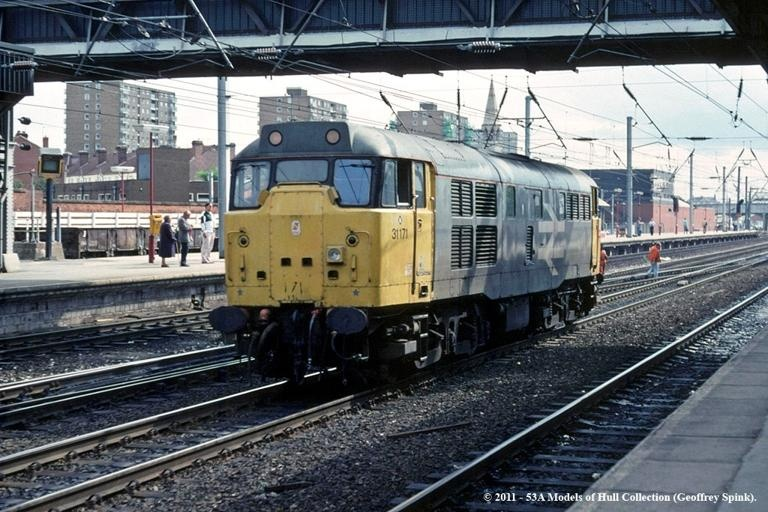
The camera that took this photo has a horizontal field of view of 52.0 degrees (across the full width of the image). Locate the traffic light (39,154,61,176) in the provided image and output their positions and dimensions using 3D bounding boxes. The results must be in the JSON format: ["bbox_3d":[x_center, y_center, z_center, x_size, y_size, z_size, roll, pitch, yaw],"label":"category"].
[{"bbox_3d":[-12.930,-3.474,30.032,0.738,1.076,0.835,0,-2,-19],"label":"traffic light"}]
